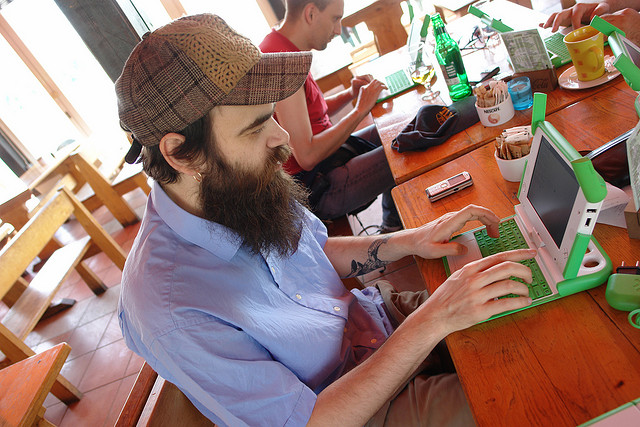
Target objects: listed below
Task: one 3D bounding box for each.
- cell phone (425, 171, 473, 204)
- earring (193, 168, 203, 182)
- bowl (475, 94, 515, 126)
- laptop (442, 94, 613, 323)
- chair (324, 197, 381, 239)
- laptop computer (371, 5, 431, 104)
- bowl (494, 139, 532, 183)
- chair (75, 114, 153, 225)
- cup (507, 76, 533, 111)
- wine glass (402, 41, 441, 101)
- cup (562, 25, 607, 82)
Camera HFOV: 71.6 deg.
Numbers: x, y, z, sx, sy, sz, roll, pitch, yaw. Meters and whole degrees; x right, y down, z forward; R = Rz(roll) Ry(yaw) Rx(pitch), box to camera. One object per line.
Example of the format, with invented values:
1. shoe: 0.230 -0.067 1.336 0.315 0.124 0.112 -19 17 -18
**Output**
1. cell phone: 0.552 -0.118 1.888 0.205 0.052 0.099 -30 39 6
2. earring: -0.447 -0.141 1.625 0.024 0.043 0.047 -31 16 -23
3. bowl: 0.836 -0.479 2.110 0.142 0.105 0.151 -14 17 4
4. laptop: 0.657 -0.040 1.496 0.408 0.490 0.505 -16 28 11
5. chair: 0.326 0.033 3.263 0.191 0.298 0.289 -10 5 18
6. laptop computer: 0.528 -1.003 2.861 0.476 0.330 0.751 -21 18 21
7. bowl: 0.765 -0.225 1.771 0.133 0.118 0.151 -4 29 9
8. chair: -2.495 -0.552 5.442 0.547 0.953 1.600 -27 28 -21
9. cup: 0.964 -0.569 2.110 0.102 0.113 0.097 -16 19 5
10. wine glass: 0.637 -0.856 2.687 0.122 0.262 0.125 -8 22 19
11. cup: 1.199 -0.716 1.989 0.161 0.202 0.267 -12 30 20
